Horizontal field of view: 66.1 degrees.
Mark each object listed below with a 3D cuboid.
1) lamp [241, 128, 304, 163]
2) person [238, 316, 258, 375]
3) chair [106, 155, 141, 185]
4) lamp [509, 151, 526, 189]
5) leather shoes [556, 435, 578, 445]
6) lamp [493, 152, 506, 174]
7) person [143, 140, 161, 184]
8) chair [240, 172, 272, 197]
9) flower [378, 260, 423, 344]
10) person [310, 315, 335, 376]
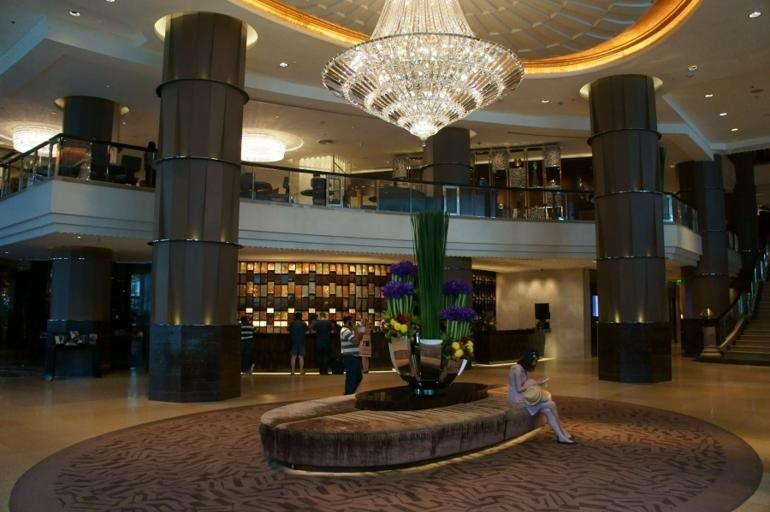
[{"bbox_3d":[-4.296,-4.093,22.558,2.203,1.007,2.151,2,2,-17],"label":"lamp"},{"bbox_3d":[-4.167,2.715,17.886,0.394,1.754,0.767,2,2,-14],"label":"person"},{"bbox_3d":[-6.698,-2.187,15.352,0.736,0.725,0.693,5,0,-40],"label":"chair"},{"bbox_3d":[5.364,-3.462,24.004,0.728,1.065,0.360,3,1,15],"label":"lamp"},{"bbox_3d":[3.150,3.227,10.407,0.403,0.169,0.127,-7,-3,8],"label":"leather shoes"},{"bbox_3d":[4.634,-3.842,23.960,0.576,0.622,0.144,3,1,15],"label":"lamp"},{"bbox_3d":[-6.167,-2.334,15.717,0.424,1.272,0.432,23,24,31],"label":"person"},{"bbox_3d":[-3.673,-2.009,16.950,0.706,0.823,0.588,-1,-1,-4],"label":"chair"},{"bbox_3d":[0.302,0.816,10.989,0.696,0.967,0.659,2,2,0],"label":"flower"},{"bbox_3d":[-1.924,2.777,18.462,0.624,1.742,1.511,2,2,-6],"label":"person"}]
